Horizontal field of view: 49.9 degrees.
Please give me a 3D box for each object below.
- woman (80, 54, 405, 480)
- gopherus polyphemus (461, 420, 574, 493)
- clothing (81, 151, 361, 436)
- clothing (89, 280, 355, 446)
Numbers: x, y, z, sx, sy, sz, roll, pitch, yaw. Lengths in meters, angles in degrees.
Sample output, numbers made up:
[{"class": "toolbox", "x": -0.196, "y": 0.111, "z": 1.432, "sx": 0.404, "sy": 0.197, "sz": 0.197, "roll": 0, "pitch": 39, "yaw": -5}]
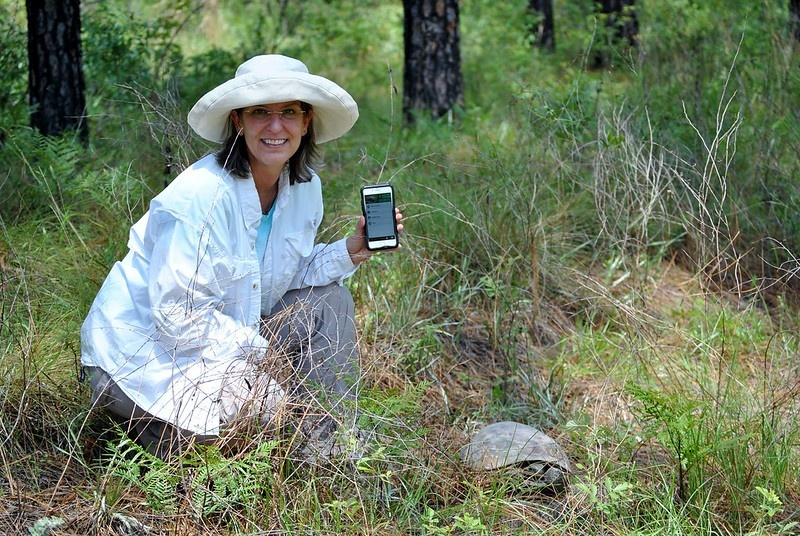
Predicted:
[{"class": "woman", "x": -0.904, "y": 0.021, "z": 5.129, "sx": 1.712, "sy": 2.508, "sz": 1.387, "roll": 1, "pitch": 1, "yaw": -3}, {"class": "gopherus polyphemus", "x": 0.684, "y": 1.071, "z": 4.993, "sx": 0.473, "sy": 0.191, "sz": 0.361, "roll": 15, "pitch": 3, "yaw": 39}, {"class": "clothing", "x": -1.080, "y": 0.135, "z": 4.935, "sx": 1.511, "sy": 1.380, "sz": 0.773, "roll": -12, "pitch": 22, "yaw": -25}, {"class": "clothing", "x": -0.901, "y": 0.418, "z": 5.079, "sx": 1.126, "sy": 0.531, "sz": 0.938, "roll": -22, "pitch": 6, "yaw": -1}]
